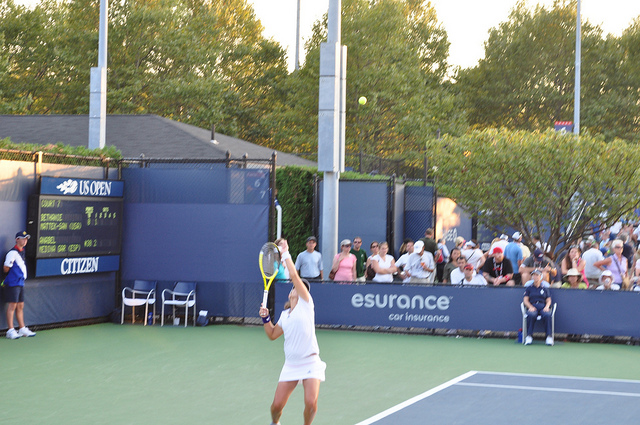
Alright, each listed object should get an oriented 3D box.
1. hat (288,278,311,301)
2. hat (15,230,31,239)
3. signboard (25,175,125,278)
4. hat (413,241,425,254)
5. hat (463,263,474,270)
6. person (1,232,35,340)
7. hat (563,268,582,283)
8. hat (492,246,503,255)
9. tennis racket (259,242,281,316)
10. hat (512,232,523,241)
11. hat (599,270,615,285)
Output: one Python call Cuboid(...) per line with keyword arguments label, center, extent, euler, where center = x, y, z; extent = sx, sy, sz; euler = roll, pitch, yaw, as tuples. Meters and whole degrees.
Cuboid(label="hat", center=(-0.374, 1.592, 14.707), extent=(0.351, 0.412, 0.414), euler=(1, 3, -6))
Cuboid(label="hat", center=(-8.989, 0.680, 21.664), extent=(0.328, 0.199, 0.253), euler=(-5, -3, 24))
Cuboid(label="signboard", center=(-7.993, 0.464, 23.087), extent=(0.409, 3.132, 3.253), euler=(-2, -2, 39))
Cuboid(label="hat", center=(3.410, 1.185, 24.123), extent=(0.295, 0.417, 0.384), euler=(2, 13, -42))
Cuboid(label="hat", center=(4.799, 1.755, 22.983), extent=(0.326, 0.165, 0.378), euler=(1, 6, 2))
Cuboid(label="person", center=(-9.173, 2.215, 21.748), extent=(0.802, 3.183, 0.798), euler=(-5, 8, -36))
Cuboid(label="hat", center=(8.076, 2.033, 22.804), extent=(0.532, 0.617, 1.084), euler=(3, 7, 20))
Cuboid(label="hat", center=(5.870, 1.261, 23.551), extent=(0.202, 0.236, 0.243), euler=(3, -10, 0))
Cuboid(label="tennis racket", center=(-1.056, 1.288, 14.421), extent=(0.063, 1.353, 0.497), euler=(3, -8, 31))
Cuboid(label="hat", center=(6.969, 0.874, 25.118), extent=(0.450, 0.147, 0.317), euler=(-27, 19, -36))
Cuboid(label="hat", center=(9.113, 2.057, 22.696), extent=(0.426, 0.481, 0.783), euler=(3, 7, 24))
